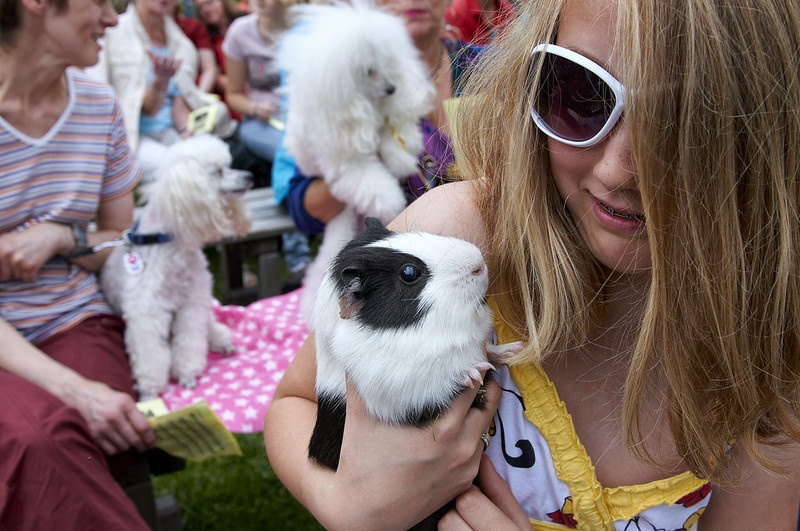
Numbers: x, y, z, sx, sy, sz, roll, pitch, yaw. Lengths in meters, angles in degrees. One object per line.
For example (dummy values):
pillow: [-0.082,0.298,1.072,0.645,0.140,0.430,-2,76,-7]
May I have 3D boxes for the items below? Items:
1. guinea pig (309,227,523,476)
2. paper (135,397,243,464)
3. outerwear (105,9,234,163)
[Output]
guinea pig: [0.014,0.164,2.552,0.501,0.639,0.438,46,17,0]
paper: [-0.778,0.612,3.073,0.308,0.261,0.104,-1,33,11]
outerwear: [-1.641,-0.988,5.591,0.638,1.330,0.479,-23,34,-38]
